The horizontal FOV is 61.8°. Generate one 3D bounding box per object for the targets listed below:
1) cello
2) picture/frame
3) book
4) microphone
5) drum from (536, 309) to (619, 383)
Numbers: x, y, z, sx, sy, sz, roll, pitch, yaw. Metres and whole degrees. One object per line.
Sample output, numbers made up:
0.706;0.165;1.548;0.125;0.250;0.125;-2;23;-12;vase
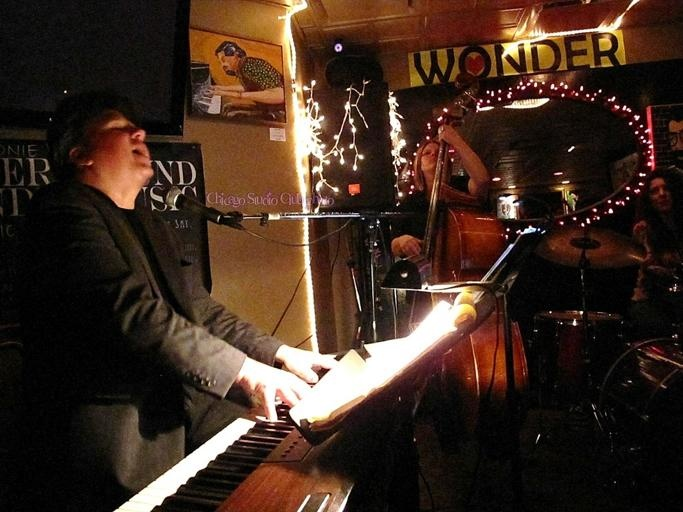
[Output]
0.811;0.008;3.699;0.789;2.345;0.859;4;5;-12;cello
-0.719;-1.193;3.828;0.961;0.767;0.051;-2;-2;-35;picture/frame
0.133;0.357;1.878;0.161;0.490;0.334;39;11;4;book
-0.675;-0.223;2.826;0.368;0.243;0.303;1;8;-16;microphone
1.585;0.571;3.915;0.481;0.529;0.440;2;6;-1;drum
